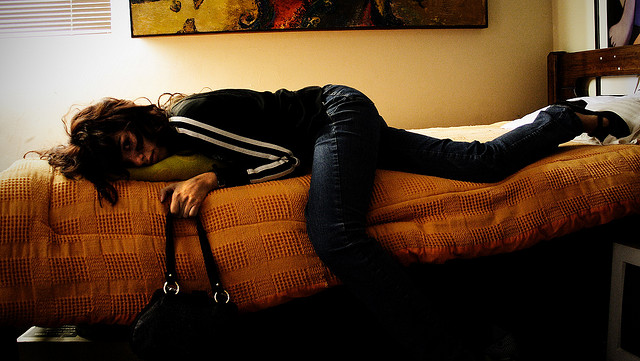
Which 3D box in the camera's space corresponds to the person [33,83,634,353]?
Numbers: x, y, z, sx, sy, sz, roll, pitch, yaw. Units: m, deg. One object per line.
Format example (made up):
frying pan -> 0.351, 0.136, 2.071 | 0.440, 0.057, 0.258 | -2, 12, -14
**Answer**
person -> 0.508, 0.065, 2.750 | 3.604, 1.014, 1.199 | -3, 5, -5
